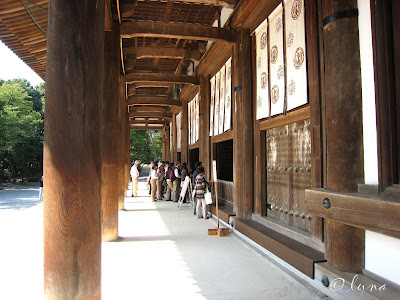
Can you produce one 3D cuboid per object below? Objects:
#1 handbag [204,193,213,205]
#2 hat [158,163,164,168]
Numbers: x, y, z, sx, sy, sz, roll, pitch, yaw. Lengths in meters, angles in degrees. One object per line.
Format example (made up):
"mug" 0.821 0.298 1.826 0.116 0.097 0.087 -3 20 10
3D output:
"handbag" 0.214 1.266 8.354 0.157 0.316 0.514 0 0 -2
"hat" -1.720 0.695 14.221 0.136 0.219 0.188 -7 37 -13
